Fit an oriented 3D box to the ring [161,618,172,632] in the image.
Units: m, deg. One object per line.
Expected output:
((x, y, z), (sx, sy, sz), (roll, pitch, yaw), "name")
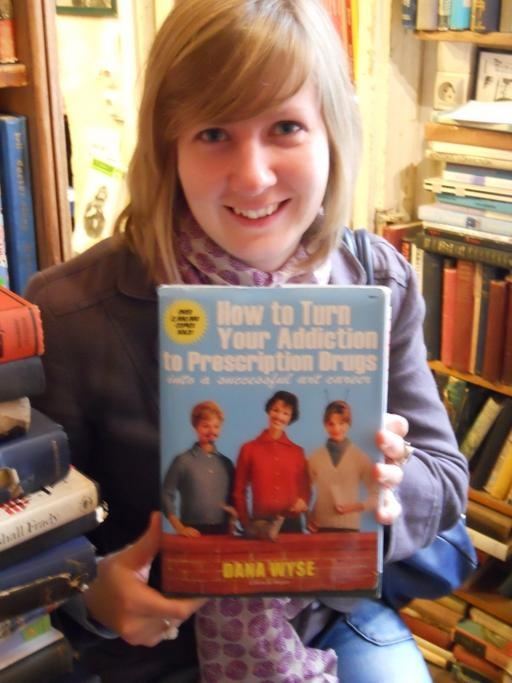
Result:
((-0.094, 0.299, 0.597), (0.011, 0.010, 0.003), (0, 3, 29), "ring")
